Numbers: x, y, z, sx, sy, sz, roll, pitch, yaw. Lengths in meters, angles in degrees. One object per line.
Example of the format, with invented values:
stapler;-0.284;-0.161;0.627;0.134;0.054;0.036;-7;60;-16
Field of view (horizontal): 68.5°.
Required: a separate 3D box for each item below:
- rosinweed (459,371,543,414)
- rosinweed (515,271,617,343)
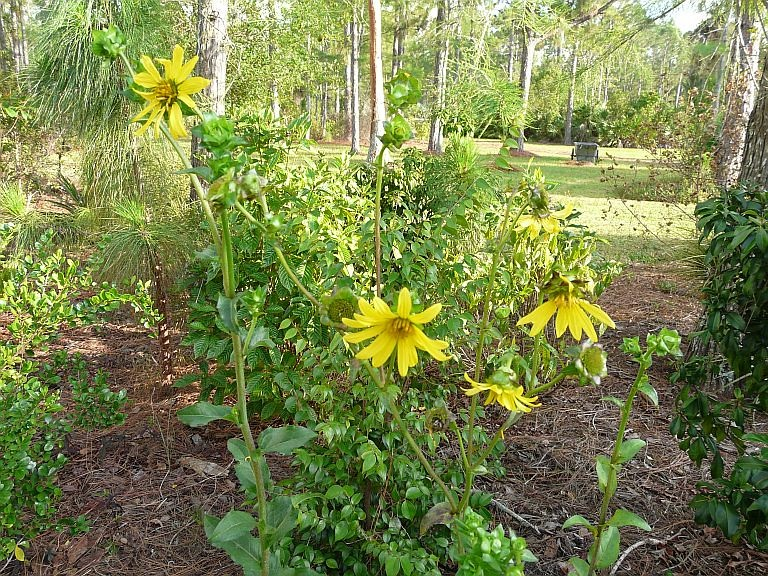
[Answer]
rosinweed;0.383;0.337;1.785;0.210;0.100;0.213;27;23;31
rosinweed;0.581;0.075;1.833;0.278;0.262;0.303;7;15;13
